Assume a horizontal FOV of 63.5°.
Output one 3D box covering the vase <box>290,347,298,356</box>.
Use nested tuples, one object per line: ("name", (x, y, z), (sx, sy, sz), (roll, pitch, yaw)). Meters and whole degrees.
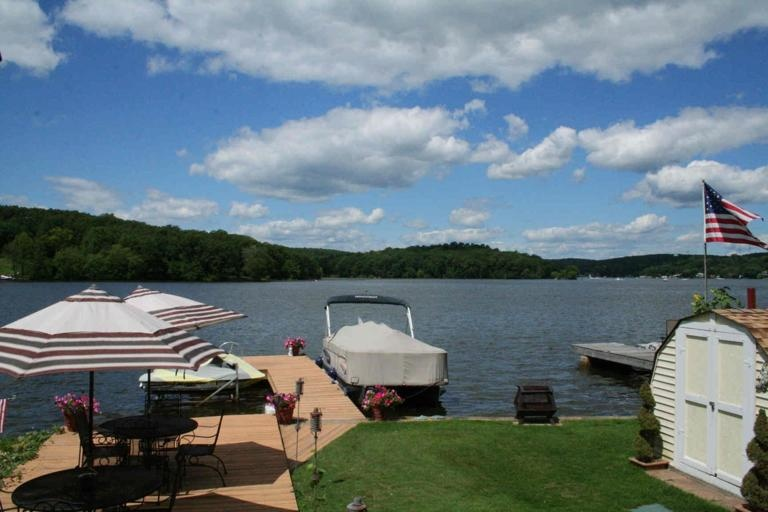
("vase", (-4.946, 5.272, 34.347), (0.506, 0.448, 0.352), (1, -2, -11))

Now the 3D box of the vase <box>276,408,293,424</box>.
("vase", (-3.500, 5.659, 21.891), (0.605, 0.406, 0.572), (0, -5, -8))

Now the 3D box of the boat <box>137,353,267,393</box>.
("boat", (-7.827, 5.346, 27.543), (5.283, 1.570, 3.585), (-1, -2, -5))

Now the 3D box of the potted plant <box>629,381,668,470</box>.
("potted plant", (7.974, 5.116, 18.892), (0.727, 2.556, 0.912), (1, -3, -20))

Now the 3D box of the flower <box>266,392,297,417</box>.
("flower", (-3.604, 5.309, 22.065), (1.068, 0.937, 0.966), (0, -7, -7))

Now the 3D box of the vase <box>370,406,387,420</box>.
("vase", (-0.205, 5.901, 23.376), (0.531, 0.365, 0.504), (-1, -7, -2))
